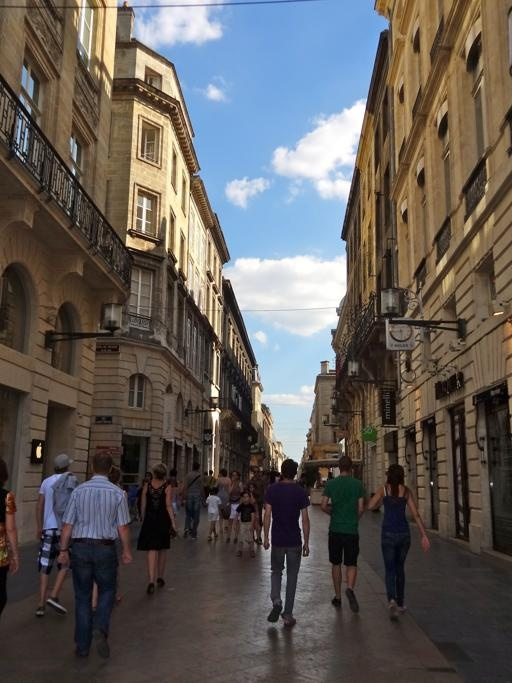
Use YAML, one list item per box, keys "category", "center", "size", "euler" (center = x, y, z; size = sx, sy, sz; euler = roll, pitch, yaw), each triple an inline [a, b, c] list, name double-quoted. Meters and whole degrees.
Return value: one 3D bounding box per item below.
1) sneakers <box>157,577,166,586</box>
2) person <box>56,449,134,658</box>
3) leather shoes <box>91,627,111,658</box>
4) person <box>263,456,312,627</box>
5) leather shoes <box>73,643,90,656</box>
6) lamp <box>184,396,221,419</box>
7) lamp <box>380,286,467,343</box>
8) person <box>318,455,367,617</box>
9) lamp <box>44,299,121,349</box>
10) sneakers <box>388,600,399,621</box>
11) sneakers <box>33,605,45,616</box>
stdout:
- category: "sneakers"
  center: [-1.317, 3.320, 6.745]
  size: [0.050, 0.082, 0.164]
  euler: [1, -3, 3]
- category: "person"
  center: [-1.135, 1.436, 3.409]
  size: [0.541, 1.318, 0.394]
  euler: [-3, -13, 19]
- category: "leather shoes"
  center: [-0.954, 1.852, 2.997]
  size: [0.094, 0.156, 0.146]
  euler: [6, -15, -20]
- category: "person"
  center: [0.334, 2.139, 5.443]
  size: [0.541, 1.611, 1.938]
  euler: [0, -15, 4]
- category: "leather shoes"
  center: [-1.142, 2.028, 3.215]
  size: [0.085, 0.070, 0.208]
  euler: [7, -17, -18]
- category: "lamp"
  center: [-4.276, 5.474, 40.150]
  size: [3.265, 1.736, 0.648]
  euler: [1, -4, -26]
- category: "lamp"
  center: [4.436, -0.676, 12.994]
  size: [2.057, 1.647, 0.508]
  euler: [-3, 7, 10]
- category: "person"
  center: [0.974, 2.128, 5.491]
  size: [0.553, 1.622, 0.542]
  euler: [-9, -16, 38]
- category: "lamp"
  center: [-4.487, -0.423, 12.747]
  size: [1.847, 1.482, 0.487]
  euler: [5, 10, -30]
- category: "sneakers"
  center: [1.340, 2.622, 4.747]
  size: [0.067, 0.271, 0.103]
  euler: [-3, 18, 5]
- category: "sneakers"
  center: [-2.125, 2.631, 4.795]
  size: [0.050, 0.070, 0.139]
  euler: [1, -10, -9]
